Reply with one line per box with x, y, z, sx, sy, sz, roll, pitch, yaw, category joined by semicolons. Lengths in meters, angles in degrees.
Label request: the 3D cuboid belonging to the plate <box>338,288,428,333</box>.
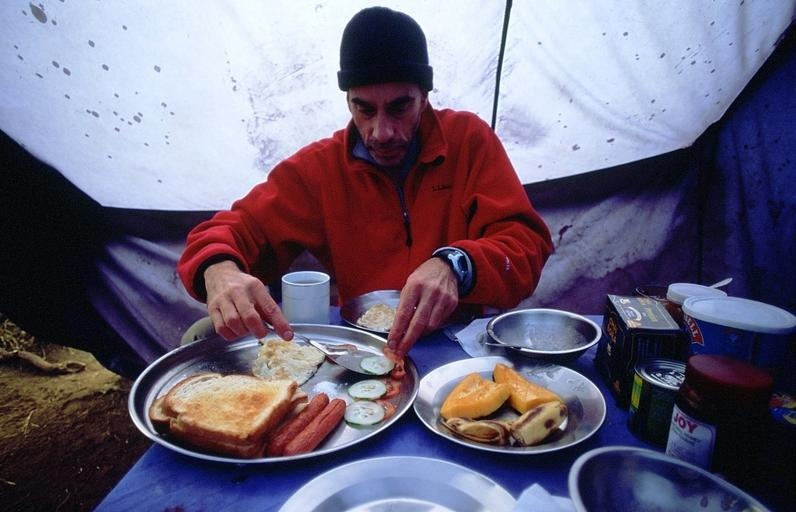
-0.123;0.387;3.416;0.534;0.227;0.434;-9;13;-41;plate

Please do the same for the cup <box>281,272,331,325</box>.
-0.596;0.266;3.356;0.256;0.339;0.375;3;15;5;cup

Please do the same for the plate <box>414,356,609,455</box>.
0.703;0.766;2.744;0.972;0.394;0.794;7;10;43;plate

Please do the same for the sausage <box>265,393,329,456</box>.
-0.495;0.882;2.671;0.133;0.139;0.508;19;41;38;sausage

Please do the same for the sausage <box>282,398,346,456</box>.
-0.413;0.897;2.612;0.125;0.135;0.437;17;34;35;sausage

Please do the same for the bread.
-0.956;0.825;2.573;0.487;0.133;0.462;11;18;12;bread
